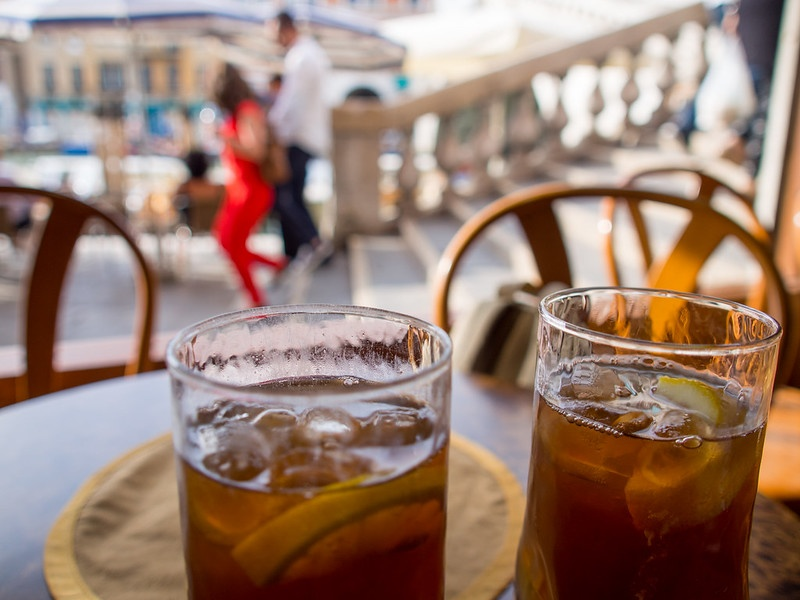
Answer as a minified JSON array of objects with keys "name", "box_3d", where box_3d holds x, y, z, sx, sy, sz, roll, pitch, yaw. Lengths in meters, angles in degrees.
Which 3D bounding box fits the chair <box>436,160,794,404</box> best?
[{"name":"chair","box_3d":[0.421,-0.024,1.535,0.577,0.694,0.511,3,-9,-5]}]
